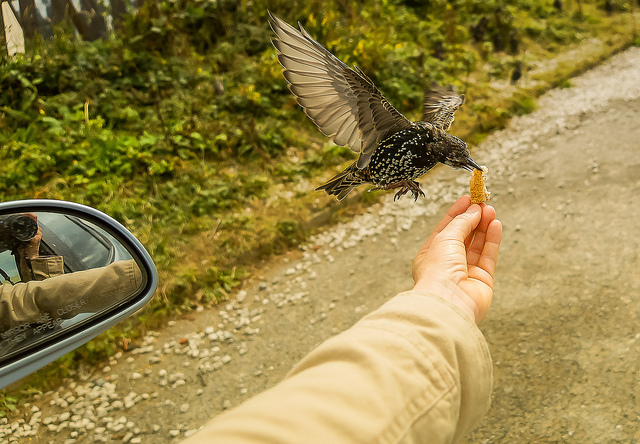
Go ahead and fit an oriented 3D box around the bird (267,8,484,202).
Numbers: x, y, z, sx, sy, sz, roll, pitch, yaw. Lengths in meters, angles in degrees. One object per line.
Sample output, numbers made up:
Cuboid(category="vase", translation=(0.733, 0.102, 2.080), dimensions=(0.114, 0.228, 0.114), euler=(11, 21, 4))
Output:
Cuboid(category="bird", translation=(0.306, -0.699, 4.840), dimensions=(1.608, 1.311, 0.898), euler=(14, 69, -52))
